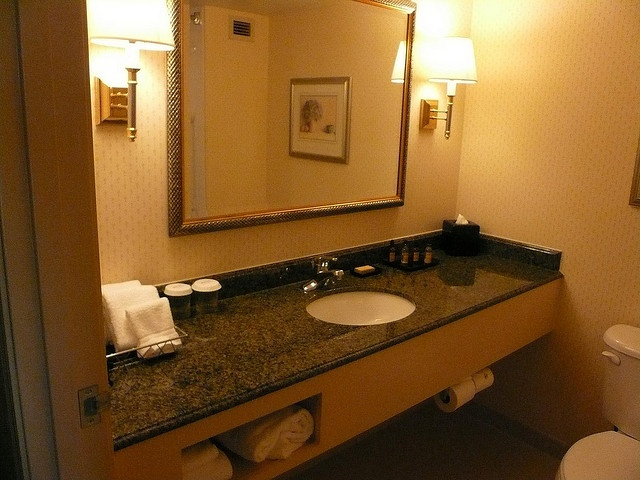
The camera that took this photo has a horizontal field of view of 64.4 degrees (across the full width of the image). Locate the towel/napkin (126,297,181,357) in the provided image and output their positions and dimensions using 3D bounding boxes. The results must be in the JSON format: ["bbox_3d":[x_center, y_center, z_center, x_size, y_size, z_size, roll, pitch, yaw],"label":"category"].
[{"bbox_3d":[-0.542,0.290,1.660,0.143,0.193,0.062,-9,-9,-36],"label":"towel/napkin"}]

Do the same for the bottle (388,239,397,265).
[{"bbox_3d":[0.385,0.064,2.684,0.049,0.097,0.132,2,18,7],"label":"bottle"}]

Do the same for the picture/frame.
[{"bbox_3d":[-0.018,-0.547,2.268,0.360,0.463,0.030,-8,17,-38],"label":"picture/frame"}]

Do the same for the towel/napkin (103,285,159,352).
[{"bbox_3d":[-0.643,0.237,1.694,0.157,0.231,0.079,3,-23,-37],"label":"towel/napkin"}]

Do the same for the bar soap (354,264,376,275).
[{"bbox_3d":[0.217,0.148,2.522,0.094,0.026,0.117,16,24,37],"label":"bar soap"}]

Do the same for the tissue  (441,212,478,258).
[{"bbox_3d":[0.777,-0.045,2.920,0.202,0.234,0.210,-7,17,-24],"label":"tissue "}]

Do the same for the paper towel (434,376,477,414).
[{"bbox_3d":[0.648,0.744,2.400,0.189,0.184,0.155,-10,5,-38],"label":"paper towel"}]

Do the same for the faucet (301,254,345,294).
[{"bbox_3d":[0.021,0.156,2.373,0.086,0.222,0.299,10,13,43],"label":"faucet"}]

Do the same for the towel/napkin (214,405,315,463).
[{"bbox_3d":[-0.157,0.621,1.663,0.195,0.088,0.199,17,26,42],"label":"towel/napkin"}]

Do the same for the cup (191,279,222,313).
[{"bbox_3d":[-0.441,0.218,1.972,0.118,0.113,0.118,4,15,-1],"label":"cup"}]

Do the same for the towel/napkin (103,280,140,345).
[{"bbox_3d":[-0.667,0.245,1.707,0.145,0.204,0.064,1,-12,-43],"label":"towel/napkin"}]

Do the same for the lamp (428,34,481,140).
[{"bbox_3d":[0.687,-0.801,2.676,0.232,0.512,0.345,4,18,11],"label":"lamp"}]
